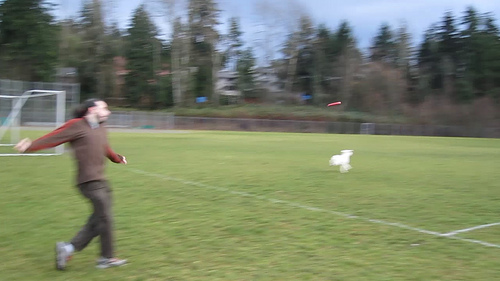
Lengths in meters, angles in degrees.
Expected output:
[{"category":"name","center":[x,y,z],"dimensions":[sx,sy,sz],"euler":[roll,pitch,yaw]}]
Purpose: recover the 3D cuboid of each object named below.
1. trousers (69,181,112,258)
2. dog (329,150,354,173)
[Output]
[{"category":"trousers","center":[-4.995,2.470,16.946],"dimensions":[1.256,2.419,0.820],"euler":[-1,19,-11]},{"category":"dog","center":[3.835,0.939,22.423],"dimensions":[0.708,1.092,1.145],"euler":[11,17,26]}]
